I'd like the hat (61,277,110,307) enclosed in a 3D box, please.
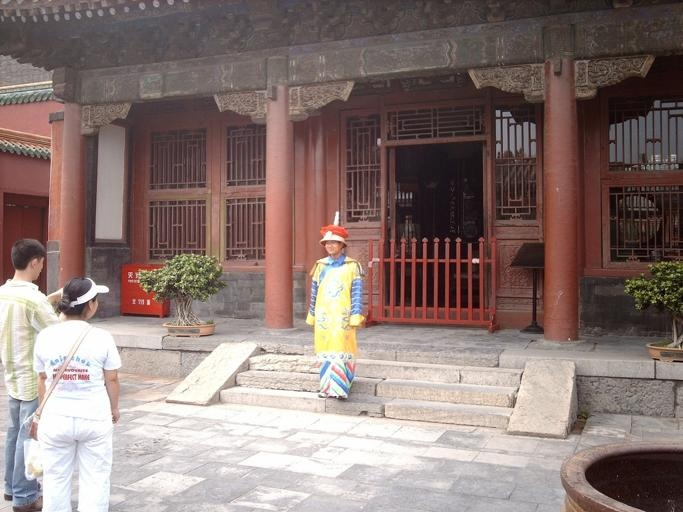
[{"bbox_3d":[-1.617,0.275,3.957,0.269,0.079,0.181,-26,45,-34],"label":"hat"}]

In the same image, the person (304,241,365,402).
[{"bbox_3d":[-0.068,0.663,6.388,0.590,1.652,0.470,0,9,4],"label":"person"}]

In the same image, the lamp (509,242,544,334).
[{"bbox_3d":[2.472,0.403,8.237,0.416,1.136,0.678,2,10,18],"label":"lamp"}]

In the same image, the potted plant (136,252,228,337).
[{"bbox_3d":[-2.158,0.517,8.154,1.165,1.177,0.945,-12,5,-30],"label":"potted plant"}]
